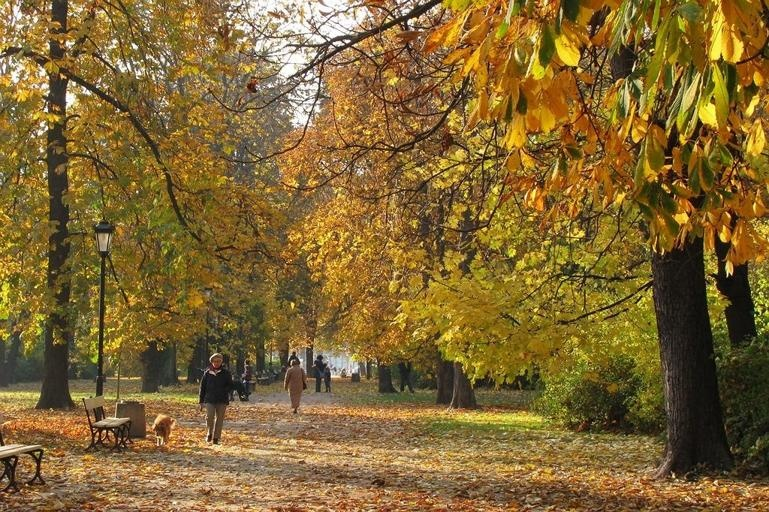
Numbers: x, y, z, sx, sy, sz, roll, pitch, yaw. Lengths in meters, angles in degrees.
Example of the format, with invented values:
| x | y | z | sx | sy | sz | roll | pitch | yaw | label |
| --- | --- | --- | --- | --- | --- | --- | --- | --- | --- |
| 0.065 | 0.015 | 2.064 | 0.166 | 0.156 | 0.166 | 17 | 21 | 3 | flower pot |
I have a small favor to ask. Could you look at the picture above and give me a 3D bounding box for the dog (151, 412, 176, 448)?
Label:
| x | y | z | sx | sy | sz | roll | pitch | yaw | label |
| --- | --- | --- | --- | --- | --- | --- | --- | --- | --- |
| -5.649 | 4.435 | 29.629 | 0.467 | 0.937 | 1.394 | 2 | -14 | -11 | dog |
